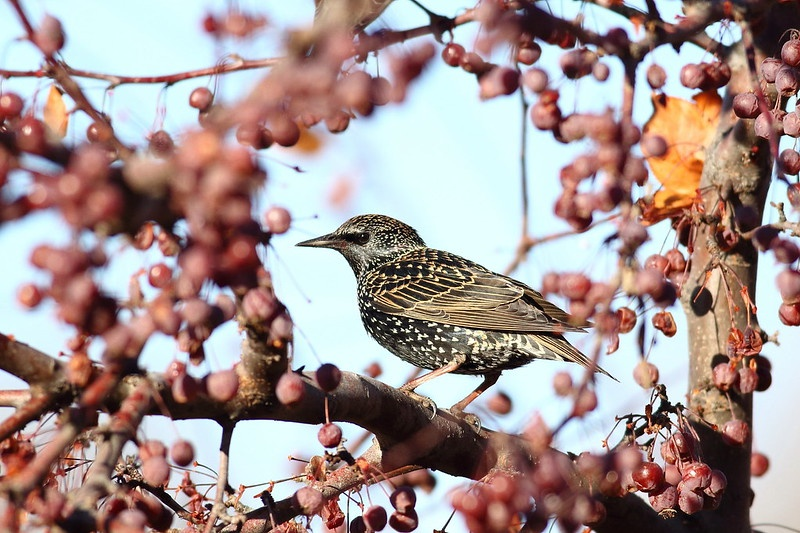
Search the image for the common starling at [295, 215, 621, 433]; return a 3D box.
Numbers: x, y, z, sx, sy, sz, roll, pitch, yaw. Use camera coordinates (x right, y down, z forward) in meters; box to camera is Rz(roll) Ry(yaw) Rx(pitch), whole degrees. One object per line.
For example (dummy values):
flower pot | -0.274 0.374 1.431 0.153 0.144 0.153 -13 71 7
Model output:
common starling | 0.332 0.329 8.222 1.982 1.392 0.752 0 -14 23
